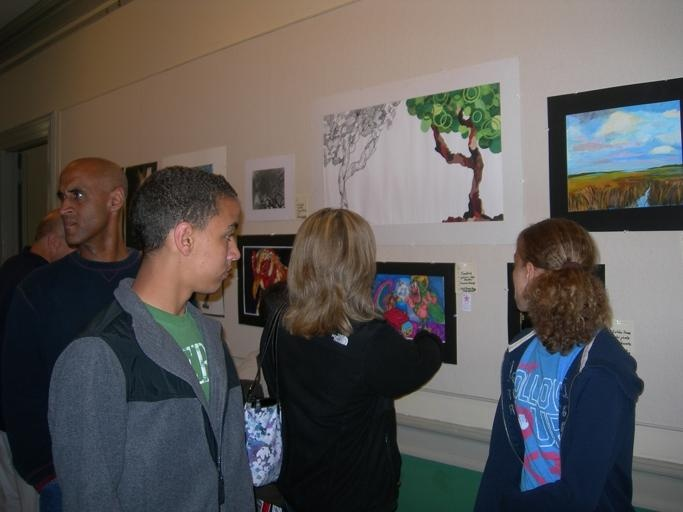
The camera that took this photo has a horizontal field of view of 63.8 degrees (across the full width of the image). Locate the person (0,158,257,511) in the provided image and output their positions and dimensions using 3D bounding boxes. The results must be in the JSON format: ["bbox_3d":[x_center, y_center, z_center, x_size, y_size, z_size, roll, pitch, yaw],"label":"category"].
[{"bbox_3d":[-1.323,0.334,2.772,0.369,1.690,0.589,1,2,19],"label":"person"}]
